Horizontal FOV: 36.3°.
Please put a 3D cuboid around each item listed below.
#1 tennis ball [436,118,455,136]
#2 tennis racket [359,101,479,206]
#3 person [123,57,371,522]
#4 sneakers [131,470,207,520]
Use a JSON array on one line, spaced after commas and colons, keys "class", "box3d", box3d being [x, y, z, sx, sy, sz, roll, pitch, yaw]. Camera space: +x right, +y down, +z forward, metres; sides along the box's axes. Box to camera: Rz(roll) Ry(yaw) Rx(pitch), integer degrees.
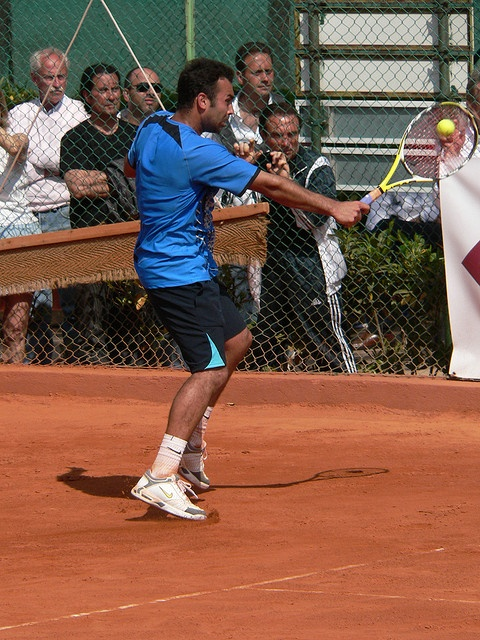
[{"class": "tennis ball", "box3d": [1.066, -1.002, 3.816, 0.094, 0.097, 0.102, 1, 8, 0]}, {"class": "tennis racket", "box3d": [0.977, -0.888, 3.668, 0.445, 0.475, 0.615, 3, 8, 10]}, {"class": "person", "box3d": [-0.085, -0.107, 3.013, 0.725, 1.886, 0.520, 0, 10, -11]}, {"class": "sneakers", "box3d": [-0.270, 0.707, 2.914, 0.272, 0.192, 0.180, -4, 10, -36]}]
